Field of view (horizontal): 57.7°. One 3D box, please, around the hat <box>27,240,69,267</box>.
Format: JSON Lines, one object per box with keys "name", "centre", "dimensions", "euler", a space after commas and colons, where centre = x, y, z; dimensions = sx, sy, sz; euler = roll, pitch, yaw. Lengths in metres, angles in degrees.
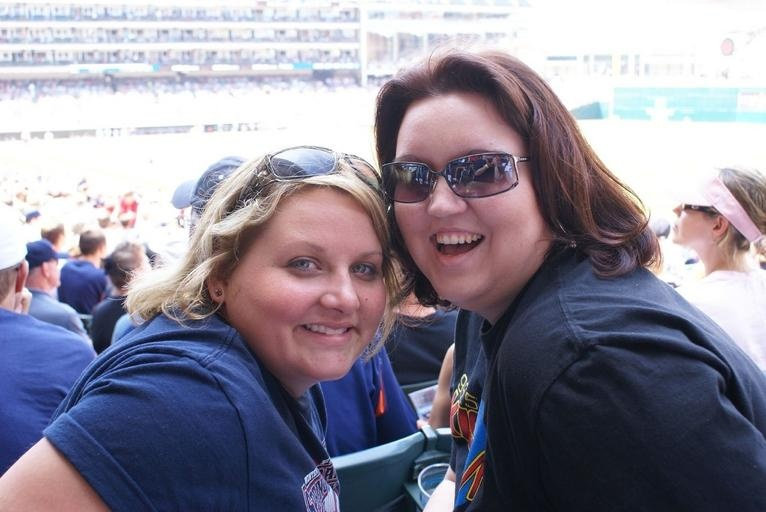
{"name": "hat", "centre": [-2.668, -0.002, 5.480], "dimensions": [0.193, 0.142, 0.276], "euler": [1, 18, 17]}
